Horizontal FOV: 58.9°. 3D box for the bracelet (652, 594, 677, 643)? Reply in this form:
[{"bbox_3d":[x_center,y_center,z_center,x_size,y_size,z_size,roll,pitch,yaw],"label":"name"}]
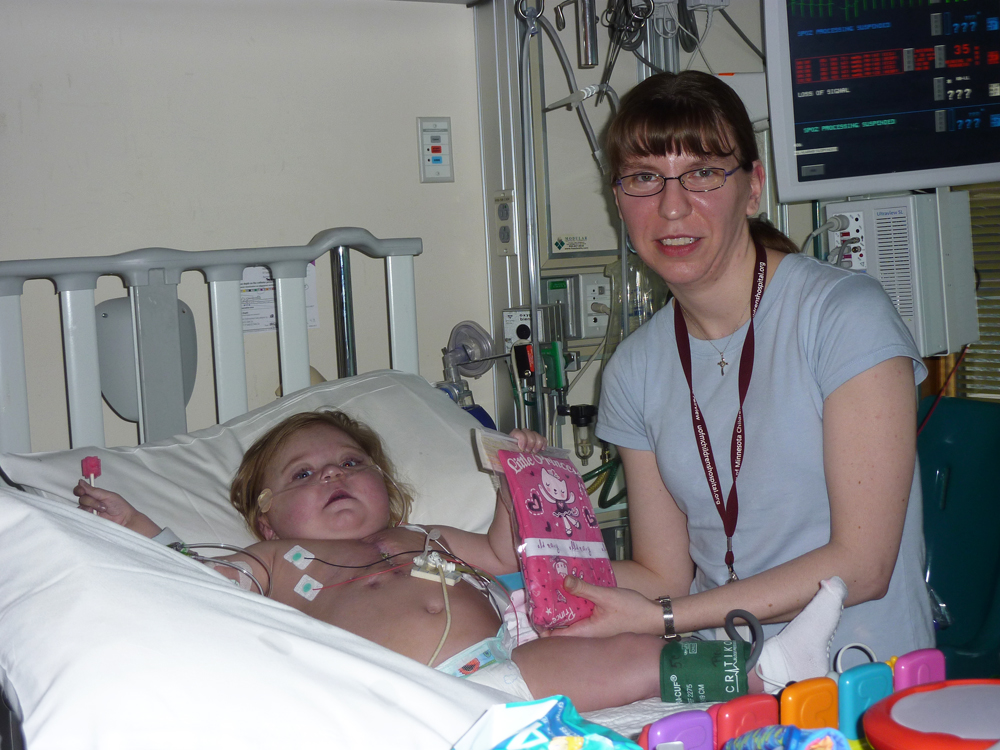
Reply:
[{"bbox_3d":[0.334,0.492,1.792,0.043,0.083,0.078,-5,-22,6],"label":"bracelet"}]

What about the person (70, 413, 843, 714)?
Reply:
[{"bbox_3d":[-0.368,0.528,2.512,1.118,0.329,1.436,-5,-28,5],"label":"person"}]

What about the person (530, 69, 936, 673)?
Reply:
[{"bbox_3d":[0.431,0.026,1.933,0.792,1.322,0.765,-8,-2,-33],"label":"person"}]
